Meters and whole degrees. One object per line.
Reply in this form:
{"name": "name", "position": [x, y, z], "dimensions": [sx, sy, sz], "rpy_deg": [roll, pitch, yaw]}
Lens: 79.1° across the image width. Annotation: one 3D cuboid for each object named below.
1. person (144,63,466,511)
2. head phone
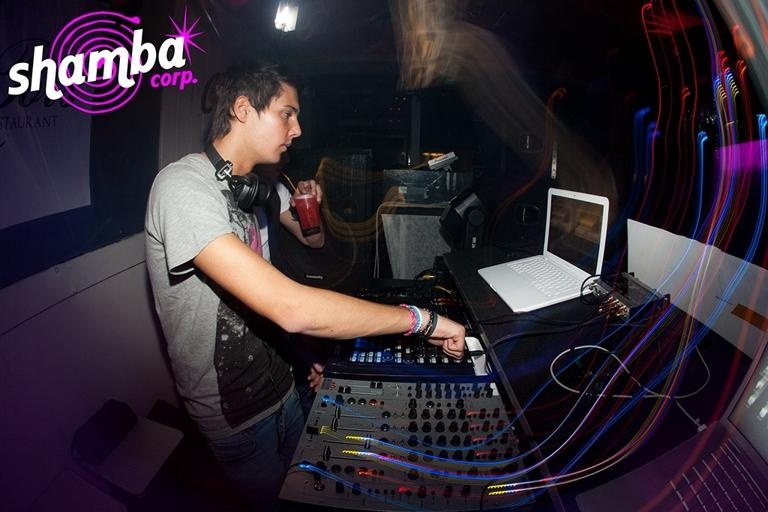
{"name": "person", "position": [-0.477, 0.218, 2.212], "dimensions": [1.100, 2.023, 0.716], "rpy_deg": [8, 25, 18]}
{"name": "head phone", "position": [-0.752, -0.362, 2.294], "dimensions": [0.133, 0.358, 0.345], "rpy_deg": [-21, -2, -8]}
